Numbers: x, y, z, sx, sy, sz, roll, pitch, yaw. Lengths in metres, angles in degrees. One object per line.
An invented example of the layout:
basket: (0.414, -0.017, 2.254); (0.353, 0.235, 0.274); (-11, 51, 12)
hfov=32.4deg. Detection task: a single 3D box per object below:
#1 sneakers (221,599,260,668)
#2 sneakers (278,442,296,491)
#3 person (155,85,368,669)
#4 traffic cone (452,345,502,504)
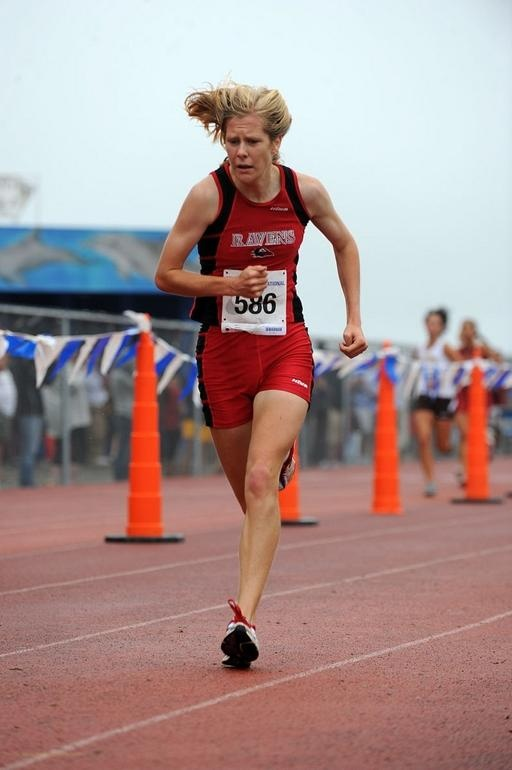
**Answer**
sneakers: (-0.032, 0.695, 2.405); (0.091, 0.097, 0.213); (1, -35, 2)
sneakers: (0.107, 0.270, 2.870); (0.061, 0.162, 0.067); (9, -13, -1)
person: (0.009, -0.035, 2.755); (0.517, 1.719, 0.720); (1, -1, 38)
traffic cone: (1.061, 0.208, 4.184); (0.211, 0.685, 0.588); (1, -1, 14)
